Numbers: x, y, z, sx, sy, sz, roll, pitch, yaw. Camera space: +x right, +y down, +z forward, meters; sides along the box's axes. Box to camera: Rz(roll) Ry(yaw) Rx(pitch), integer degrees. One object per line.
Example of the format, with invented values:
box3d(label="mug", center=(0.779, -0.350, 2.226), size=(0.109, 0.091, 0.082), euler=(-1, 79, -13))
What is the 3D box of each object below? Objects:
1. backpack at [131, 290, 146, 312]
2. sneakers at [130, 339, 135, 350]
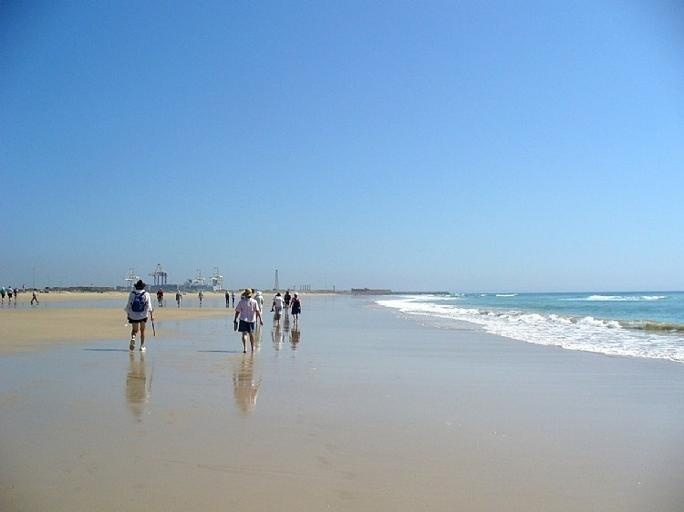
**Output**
box3d(label="backpack", center=(-5.074, 1.133, 13.847), size=(0.364, 0.526, 0.131), euler=(2, -1, -23))
box3d(label="sneakers", center=(-5.215, 2.179, 13.723), size=(0.095, 0.268, 0.242), euler=(2, -1, -29))
